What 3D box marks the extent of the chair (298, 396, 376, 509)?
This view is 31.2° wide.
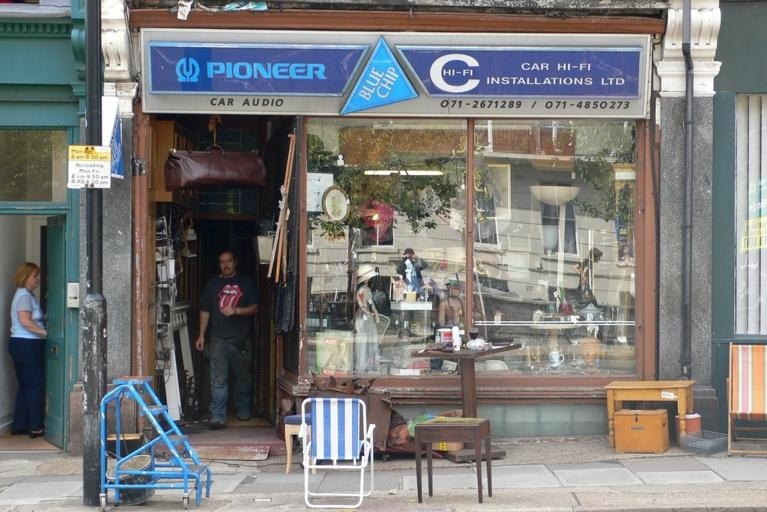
[{"bbox_3d":[-0.558,2.550,18.303,1.154,1.712,1.330,0,-2,3],"label":"chair"}]

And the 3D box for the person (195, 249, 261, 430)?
[{"bbox_3d":[-2.349,1.295,20.870,0.915,2.673,0.566,-1,-4,-9],"label":"person"}]

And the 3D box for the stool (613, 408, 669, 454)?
[{"bbox_3d":[3.608,2.500,19.266,0.753,0.598,0.213,-2,-4,2],"label":"stool"}]

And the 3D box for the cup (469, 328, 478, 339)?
[{"bbox_3d":[1.280,1.145,19.506,0.127,0.194,0.130,-2,2,0],"label":"cup"}]

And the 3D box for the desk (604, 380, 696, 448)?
[{"bbox_3d":[3.775,2.498,19.424,1.354,1.043,0.881,-1,-5,15],"label":"desk"}]

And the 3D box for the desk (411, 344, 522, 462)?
[{"bbox_3d":[1.177,2.095,19.684,1.429,2.070,1.451,-2,-5,3],"label":"desk"}]

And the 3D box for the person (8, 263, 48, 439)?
[{"bbox_3d":[-5.278,1.424,20.448,0.556,2.579,0.588,-1,-4,-16],"label":"person"}]

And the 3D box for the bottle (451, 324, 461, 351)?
[{"bbox_3d":[1.024,1.210,19.455,0.104,0.327,0.295,-1,-3,0],"label":"bottle"}]

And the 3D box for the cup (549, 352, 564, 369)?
[{"bbox_3d":[2.539,1.551,20.174,0.237,0.246,0.155,-2,-10,8],"label":"cup"}]

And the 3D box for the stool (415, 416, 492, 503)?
[{"bbox_3d":[0.956,2.735,18.283,1.069,1.202,1.012,-2,-7,7],"label":"stool"}]

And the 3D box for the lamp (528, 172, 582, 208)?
[{"bbox_3d":[2.524,-0.957,20.335,0.557,0.243,0.569,-3,-5,21],"label":"lamp"}]
